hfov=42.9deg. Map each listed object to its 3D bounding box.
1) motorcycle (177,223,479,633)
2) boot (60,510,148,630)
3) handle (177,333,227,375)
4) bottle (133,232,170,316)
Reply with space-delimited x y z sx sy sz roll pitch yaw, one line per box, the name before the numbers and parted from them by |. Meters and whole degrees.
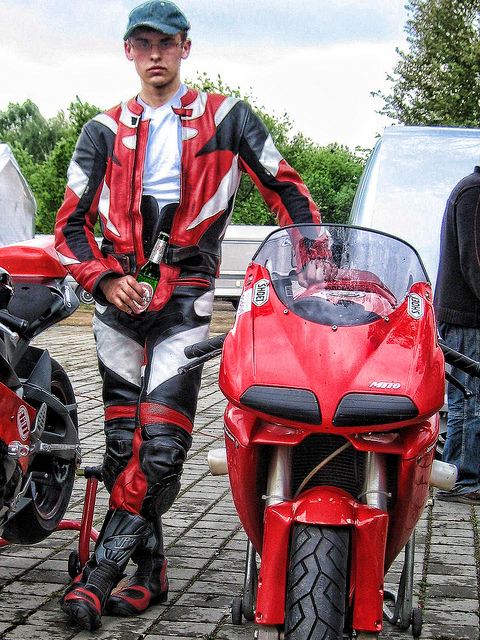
motorcycle | 0.219 0.220 1.407 0.592 0.999 0.550 2 -2 6
boot | -0.463 0.848 2.086 0.146 0.334 0.451 6 -11 11
handle | -0.101 0.088 1.674 0.040 0.053 0.200 -2 -12 -45
bottle | -0.315 -0.166 2.191 0.114 0.307 0.202 2 -2 -10
